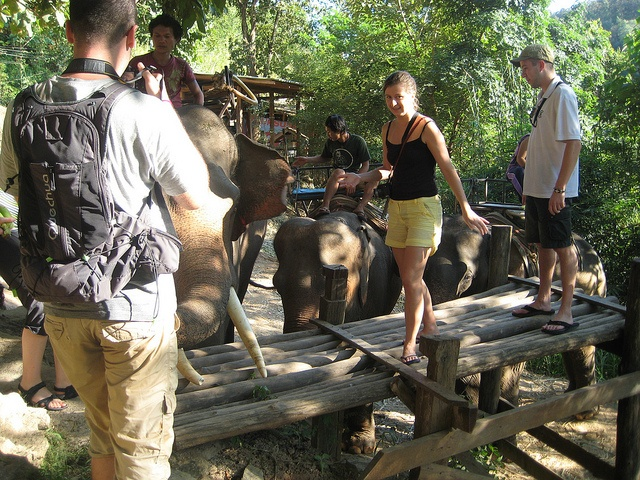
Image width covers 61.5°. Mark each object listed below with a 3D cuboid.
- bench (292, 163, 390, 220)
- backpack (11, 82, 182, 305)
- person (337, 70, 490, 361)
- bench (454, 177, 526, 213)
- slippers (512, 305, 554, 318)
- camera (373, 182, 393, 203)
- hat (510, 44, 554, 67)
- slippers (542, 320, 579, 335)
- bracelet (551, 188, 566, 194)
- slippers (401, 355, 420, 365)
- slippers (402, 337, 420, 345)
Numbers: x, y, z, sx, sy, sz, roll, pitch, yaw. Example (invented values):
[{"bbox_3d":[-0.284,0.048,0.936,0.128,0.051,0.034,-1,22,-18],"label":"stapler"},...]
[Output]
[{"bbox_3d":[0.251,-0.602,5.657,0.639,0.369,0.658,9,-4,33],"label":"bench"},{"bbox_3d":[-0.815,-0.171,1.962,0.731,0.831,0.422,0,5,8],"label":"backpack"},{"bbox_3d":[0.606,-0.178,3.572,0.559,1.802,0.885,-5,13,-45],"label":"person"},{"bbox_3d":[2.645,-0.690,8.348,1.026,0.722,1.082,4,10,23],"label":"bench"},{"bbox_3d":[1.601,0.531,4.037,0.277,0.086,0.113,1,1,0],"label":"slippers"},{"bbox_3d":[0.454,-0.351,3.896,0.109,0.063,0.143,4,30,38],"label":"camera"},{"bbox_3d":[1.544,-1.324,3.891,0.232,0.135,0.172,10,24,12],"label":"hat"},{"bbox_3d":[1.715,0.612,3.839,0.243,0.069,0.096,2,-5,-38],"label":"slippers"},{"bbox_3d":[1.637,-0.334,3.685,0.068,0.036,0.053,10,11,23],"label":"bracelet"},{"bbox_3d":[0.567,0.749,3.377,0.132,0.050,0.076,4,10,-11],"label":"slippers"},{"bbox_3d":[0.627,0.691,3.641,0.058,0.051,0.174,-3,-7,27],"label":"slippers"}]
